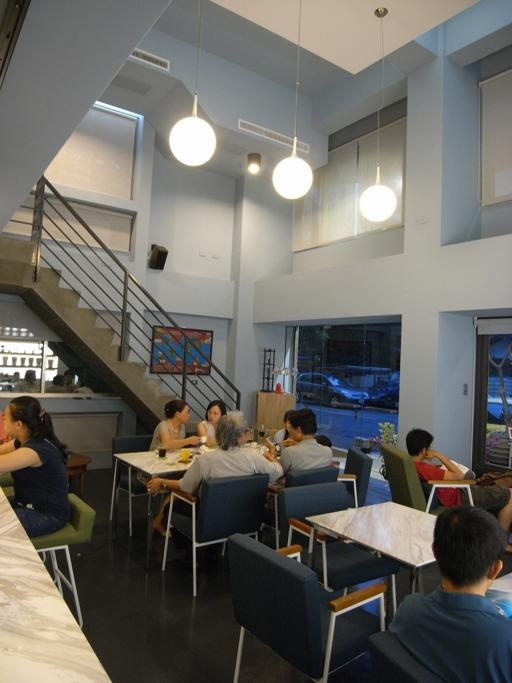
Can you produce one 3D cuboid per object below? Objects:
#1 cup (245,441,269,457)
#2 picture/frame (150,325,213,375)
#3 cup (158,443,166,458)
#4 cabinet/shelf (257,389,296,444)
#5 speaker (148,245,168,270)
[{"bbox_3d":[0.019,0.904,4.246,0.217,0.083,0.158,5,0,40],"label":"cup"},{"bbox_3d":[-1.090,0.132,7.075,0.677,0.508,0.016,5,6,26],"label":"picture/frame"},{"bbox_3d":[-0.696,0.826,3.734,0.069,0.073,0.045,-2,-3,19],"label":"cup"},{"bbox_3d":[0.308,1.062,7.243,0.574,1.129,0.555,0,0,-3],"label":"cabinet/shelf"},{"bbox_3d":[-1.354,-1.137,6.897,0.243,0.333,0.299,5,-4,-14],"label":"speaker"}]
